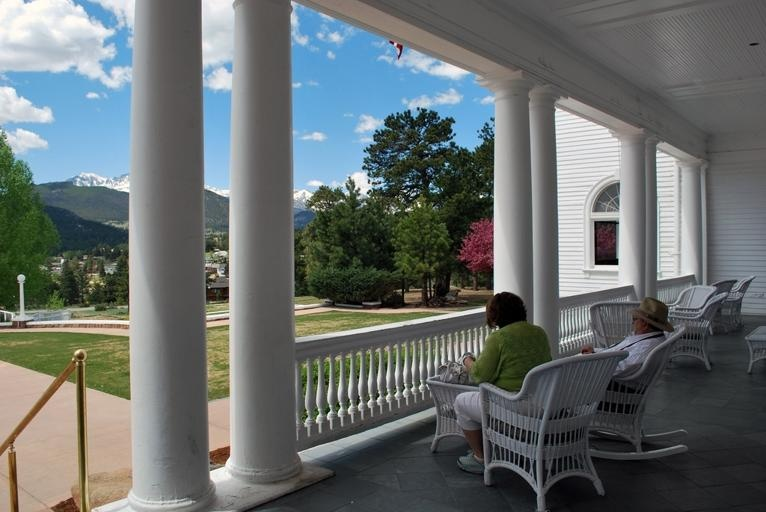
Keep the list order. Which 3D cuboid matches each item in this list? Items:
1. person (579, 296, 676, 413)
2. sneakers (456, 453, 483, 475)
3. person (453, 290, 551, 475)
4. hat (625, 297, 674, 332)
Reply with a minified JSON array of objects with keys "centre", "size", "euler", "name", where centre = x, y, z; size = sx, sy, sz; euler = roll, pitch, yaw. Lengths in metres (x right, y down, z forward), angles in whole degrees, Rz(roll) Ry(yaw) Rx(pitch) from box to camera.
[{"centre":[2.556,0.969,6.056],"size":[1.239,1.291,0.943],"euler":[5,5,29],"name":"person"},{"centre":[0.876,2.012,5.270],"size":[0.262,0.135,0.112],"euler":[8,10,43],"name":"sneakers"},{"centre":[1.094,1.202,5.124],"size":[0.927,1.730,0.529],"euler":[-2,2,36],"name":"person"},{"centre":[2.949,0.574,5.868],"size":[0.476,0.213,0.533],"euler":[-7,26,-44],"name":"hat"}]
